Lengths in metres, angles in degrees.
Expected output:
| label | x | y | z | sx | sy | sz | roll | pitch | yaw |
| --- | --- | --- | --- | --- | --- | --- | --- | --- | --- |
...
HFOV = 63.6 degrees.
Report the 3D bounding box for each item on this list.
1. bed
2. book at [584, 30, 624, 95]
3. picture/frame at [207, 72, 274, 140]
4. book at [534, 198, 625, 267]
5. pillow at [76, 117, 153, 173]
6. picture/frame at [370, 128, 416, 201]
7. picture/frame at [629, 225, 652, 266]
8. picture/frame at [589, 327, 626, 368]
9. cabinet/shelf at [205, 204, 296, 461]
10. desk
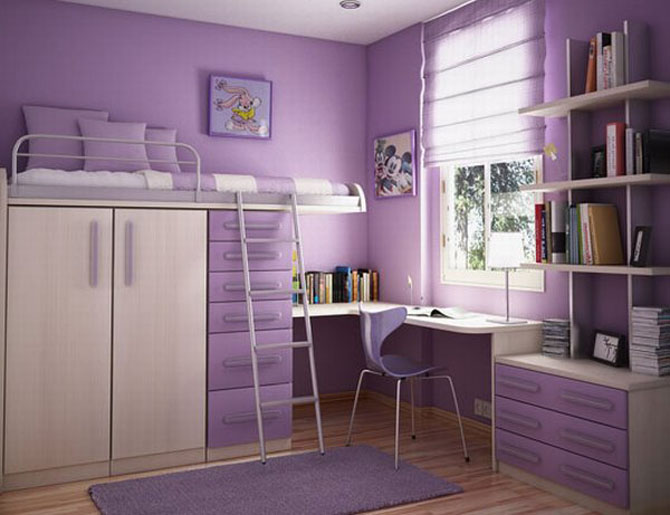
| label | x | y | z | sx | sy | sz | roll | pitch | yaw |
| --- | --- | --- | --- | --- | --- | --- | --- | --- | --- |
| bed | -0.905 | -0.549 | 3.673 | 2.243 | 0.433 | 0.215 | -1 | 2 | -20 |
| book | 1.561 | -1.129 | 3.192 | 0.103 | 0.340 | 0.283 | -1 | 2 | -20 |
| picture/frame | -0.857 | -1.319 | 4.726 | 0.611 | 0.538 | 0.082 | 2 | -1 | -26 |
| book | 1.550 | -0.128 | 3.417 | 0.485 | 0.477 | 0.361 | 0 | -2 | -38 |
| pillow | -1.698 | -0.837 | 4.113 | 0.547 | 0.513 | 0.189 | 2 | -18 | -24 |
| picture/frame | 0.532 | -0.836 | 4.884 | 0.073 | 0.733 | 0.716 | 1 | -1 | -30 |
| picture/frame | 1.719 | -0.064 | 3.069 | 0.098 | 0.225 | 0.088 | 1 | 2 | 24 |
| picture/frame | 1.647 | 0.546 | 3.268 | 0.065 | 0.175 | 0.202 | 16 | -7 | -19 |
| cabinet/shelf | -0.587 | 0.515 | 3.792 | 0.636 | 1.689 | 0.243 | -1 | 2 | -22 |
| desk | 0.540 | 0.873 | 4.403 | 1.001 | 0.721 | 1.360 | 3 | -4 | -30 |
